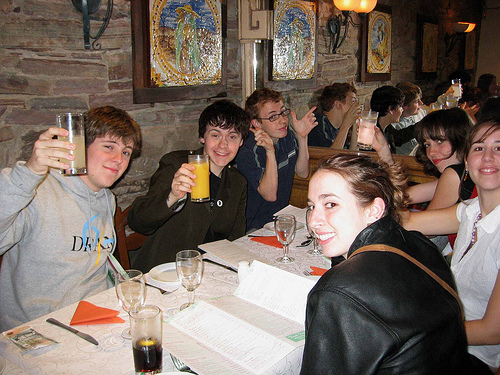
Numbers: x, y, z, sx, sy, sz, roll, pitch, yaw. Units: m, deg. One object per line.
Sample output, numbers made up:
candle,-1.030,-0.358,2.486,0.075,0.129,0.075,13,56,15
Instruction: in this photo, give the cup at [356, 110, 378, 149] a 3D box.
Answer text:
cup,0.882,-0.433,2.698,0.129,0.276,0.130,1,6,0

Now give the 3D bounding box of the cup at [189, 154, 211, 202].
cup,-0.284,-0.053,2.034,0.102,0.263,0.137,2,6,12

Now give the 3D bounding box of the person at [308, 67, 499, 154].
person,1.270,-0.774,3.592,1.329,0.737,0.647,-3,17,19

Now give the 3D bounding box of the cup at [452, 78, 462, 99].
cup,1.934,-0.921,3.342,0.087,0.184,0.075,3,6,17
